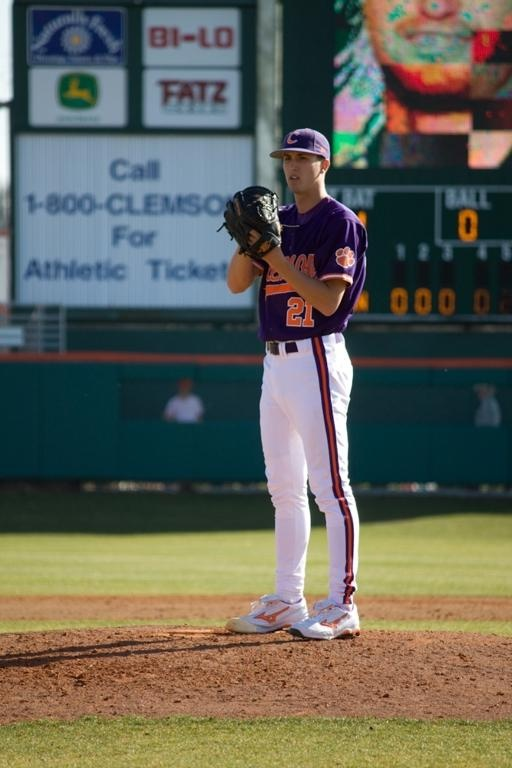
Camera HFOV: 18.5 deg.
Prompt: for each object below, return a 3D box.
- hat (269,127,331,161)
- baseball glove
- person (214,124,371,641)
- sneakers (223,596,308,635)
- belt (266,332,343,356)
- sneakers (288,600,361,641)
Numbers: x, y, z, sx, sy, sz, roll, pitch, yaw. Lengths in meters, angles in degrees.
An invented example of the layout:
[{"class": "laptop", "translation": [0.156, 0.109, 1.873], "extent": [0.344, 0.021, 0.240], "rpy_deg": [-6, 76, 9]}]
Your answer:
[{"class": "hat", "translation": [0.197, -0.992, 6.433], "extent": [0.197, 0.124, 0.149], "rpy_deg": [9, -3, -19]}, {"class": "baseball glove", "translation": [-0.009, -0.650, 6.329], "extent": [0.119, 0.313, 0.224], "rpy_deg": [2, -20, -23]}, {"class": "person", "translation": [0.177, -0.005, 6.489], "extent": [0.570, 2.065, 0.737], "rpy_deg": [-2, 11, 22]}, {"class": "sneakers", "translation": [0.064, 0.956, 6.584], "extent": [0.366, 0.177, 0.140], "rpy_deg": [-4, 0, -11]}, {"class": "belt", "translation": [0.199, -0.171, 6.435], "extent": [0.328, 0.077, 0.192], "rpy_deg": [-6, 11, 8]}, {"class": "sneakers", "translation": [0.292, 0.959, 6.415], "extent": [0.286, 0.155, 0.126], "rpy_deg": [-1, -3, -26]}]
